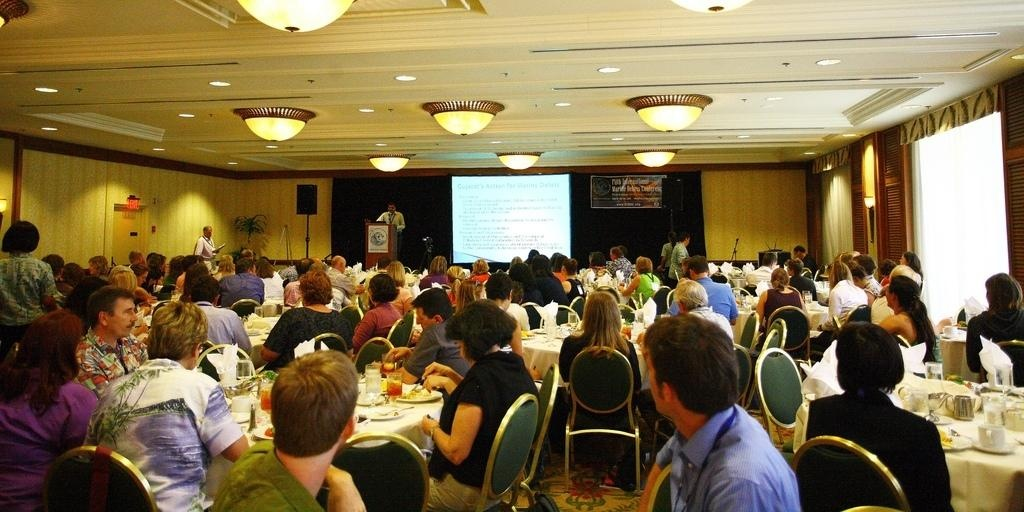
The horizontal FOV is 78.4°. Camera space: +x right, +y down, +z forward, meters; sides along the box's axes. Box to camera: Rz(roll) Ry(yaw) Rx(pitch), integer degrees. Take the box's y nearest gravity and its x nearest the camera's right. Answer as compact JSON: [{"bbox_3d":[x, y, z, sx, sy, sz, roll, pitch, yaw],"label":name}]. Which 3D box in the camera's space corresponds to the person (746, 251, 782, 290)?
[{"bbox_3d":[5.182,0.314,12.890,0.523,0.983,0.594,22,34,36],"label":"person"}]

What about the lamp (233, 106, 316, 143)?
[{"bbox_3d":[-4.491,-2.546,11.897,0.932,0.283,0.855,0,-2,-1],"label":"lamp"}]

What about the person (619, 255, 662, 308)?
[{"bbox_3d":[2.475,0.596,11.984,0.717,1.248,0.621,24,42,37],"label":"person"}]

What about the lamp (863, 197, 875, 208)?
[{"bbox_3d":[8.048,-1.193,14.107,0.199,0.184,0.212,-4,-10,43],"label":"lamp"}]

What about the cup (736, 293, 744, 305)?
[{"bbox_3d":[4.321,0.820,11.882,0.086,0.138,0.158,10,-13,-44],"label":"cup"}]

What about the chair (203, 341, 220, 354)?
[{"bbox_3d":[-3.631,1.091,7.609,0.209,0.130,0.194,1,-2,-19],"label":"chair"}]

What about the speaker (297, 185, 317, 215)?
[{"bbox_3d":[-5.826,-1.603,17.868,0.514,0.783,0.314,1,-1,-7],"label":"speaker"}]

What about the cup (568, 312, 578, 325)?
[{"bbox_3d":[0.956,0.964,9.661,0.174,0.240,0.160,-1,-1,0],"label":"cup"}]

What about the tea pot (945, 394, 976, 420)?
[{"bbox_3d":[4.615,1.557,6.437,0.328,0.242,0.191,0,-5,19],"label":"tea pot"}]

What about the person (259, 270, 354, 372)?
[{"bbox_3d":[-2.579,0.822,7.897,1.332,1.695,0.983,1,18,-20],"label":"person"}]

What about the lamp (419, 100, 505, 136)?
[{"bbox_3d":[-1.007,-2.594,11.570,0.885,0.252,0.866,-3,-4,33],"label":"lamp"}]

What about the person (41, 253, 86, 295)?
[{"bbox_3d":[-7.231,0.307,10.092,0.644,0.686,0.399,-5,-24,-12],"label":"person"}]

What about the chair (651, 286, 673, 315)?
[{"bbox_3d":[2.613,0.790,10.889,0.459,0.619,0.479,-2,-14,14],"label":"chair"}]

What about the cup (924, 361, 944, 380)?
[{"bbox_3d":[4.757,1.280,7.027,0.227,0.202,0.198,0,-1,-13],"label":"cup"}]

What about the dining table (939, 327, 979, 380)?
[{"bbox_3d":[6.064,1.347,8.684,0.735,0.675,0.730,-2,0,37],"label":"dining table"}]

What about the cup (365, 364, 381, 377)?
[{"bbox_3d":[-1.520,1.256,6.824,0.180,0.144,0.165,0,-4,0],"label":"cup"}]

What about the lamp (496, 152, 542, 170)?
[{"bbox_3d":[0.146,-2.434,16.090,0.722,0.241,0.687,-2,-3,23],"label":"lamp"}]

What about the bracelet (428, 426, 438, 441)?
[{"bbox_3d":[-0.764,1.737,6.143,0.125,0.113,0.031,31,15,-17],"label":"bracelet"}]

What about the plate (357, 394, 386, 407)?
[{"bbox_3d":[-1.505,1.546,6.677,0.234,0.053,0.220,-1,-1,15],"label":"plate"}]

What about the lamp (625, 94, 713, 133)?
[{"bbox_3d":[2.859,-2.615,11.315,0.957,0.293,0.888,-1,-4,10],"label":"lamp"}]

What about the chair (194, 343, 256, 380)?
[{"bbox_3d":[-3.306,1.201,7.291,0.582,0.411,0.486,-13,-7,9],"label":"chair"}]

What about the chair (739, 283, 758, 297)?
[{"bbox_3d":[4.919,0.724,13.128,0.422,0.344,0.397,1,1,17],"label":"chair"}]

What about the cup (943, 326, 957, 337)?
[{"bbox_3d":[6.093,1.067,8.724,0.190,0.127,0.142,-4,-3,27],"label":"cup"}]

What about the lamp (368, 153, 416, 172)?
[{"bbox_3d":[-3.205,-2.342,15.842,0.791,0.260,0.774,-2,-1,33],"label":"lamp"}]
